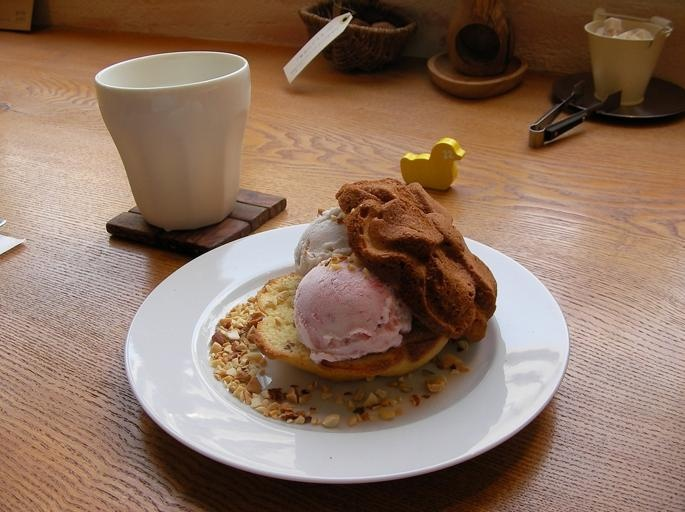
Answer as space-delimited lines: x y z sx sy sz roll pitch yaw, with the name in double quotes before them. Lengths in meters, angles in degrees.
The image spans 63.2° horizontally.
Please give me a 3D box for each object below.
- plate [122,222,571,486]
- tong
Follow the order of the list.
"plate" -0.001 0.094 0.708 0.528 0.100 0.417 13 47 9
"tong" 0.499 -0.316 1.236 0.271 0.065 0.123 -32 51 -30
